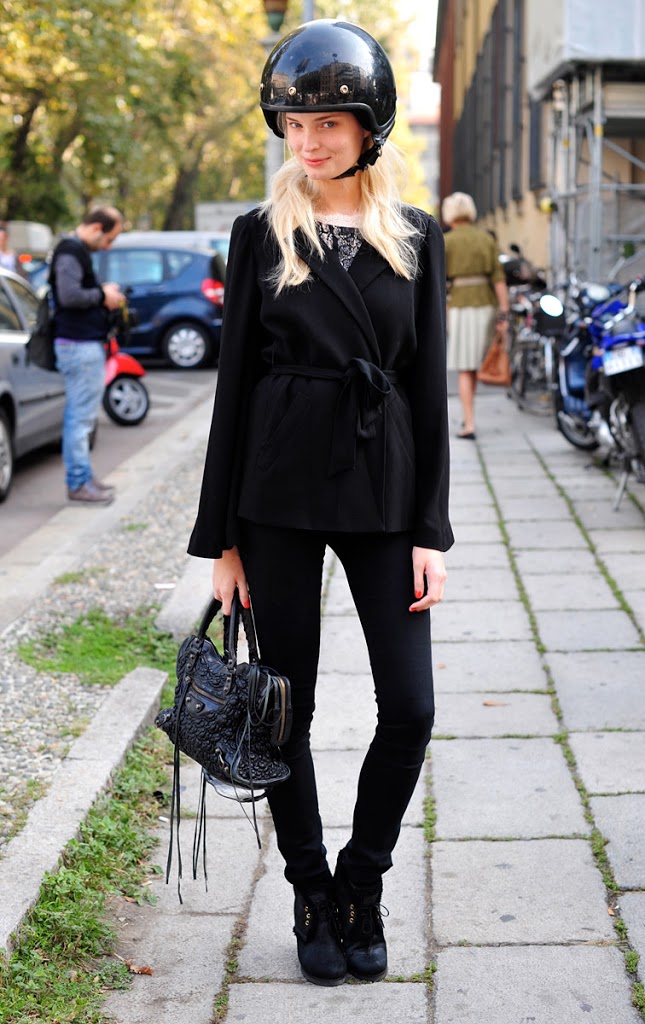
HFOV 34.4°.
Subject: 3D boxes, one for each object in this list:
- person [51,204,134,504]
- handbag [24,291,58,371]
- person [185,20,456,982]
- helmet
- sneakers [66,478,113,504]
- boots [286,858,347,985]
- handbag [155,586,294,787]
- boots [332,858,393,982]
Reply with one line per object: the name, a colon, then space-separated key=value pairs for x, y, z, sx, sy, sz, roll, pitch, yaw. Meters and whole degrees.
person: x=-1.600 y=-1.087 z=7.193 sx=0.471 sy=2.020 sz=0.625 roll=3 pitch=10 yaw=6
handbag: x=-1.917 y=-1.232 z=7.100 sx=0.187 sy=0.544 sz=0.265 roll=-2 pitch=11 yaw=-16
person: x=-0.005 y=0.046 z=1.855 sx=0.463 sy=1.738 sz=0.235 roll=0 pitch=10 yaw=-7
helmet: x=0.004 y=-0.723 z=1.769 sx=0.227 sy=0.216 sz=0.280 roll=5 pitch=21 yaw=8
sneakers: x=-1.534 y=-0.138 z=7.230 sx=0.430 sy=0.189 sz=0.140 roll=-2 pitch=8 yaw=23
boots: x=-0.011 y=0.821 z=2.046 sx=0.081 sy=0.137 sz=0.233 roll=1 pitch=1 yaw=-15
handbag: x=-0.176 y=0.309 z=1.900 sx=0.149 sy=0.334 sz=0.335 roll=2 pitch=6 yaw=-38
boots: x=0.068 y=0.794 z=2.057 sx=0.085 sy=0.111 sz=0.267 roll=10 pitch=20 yaw=-22
